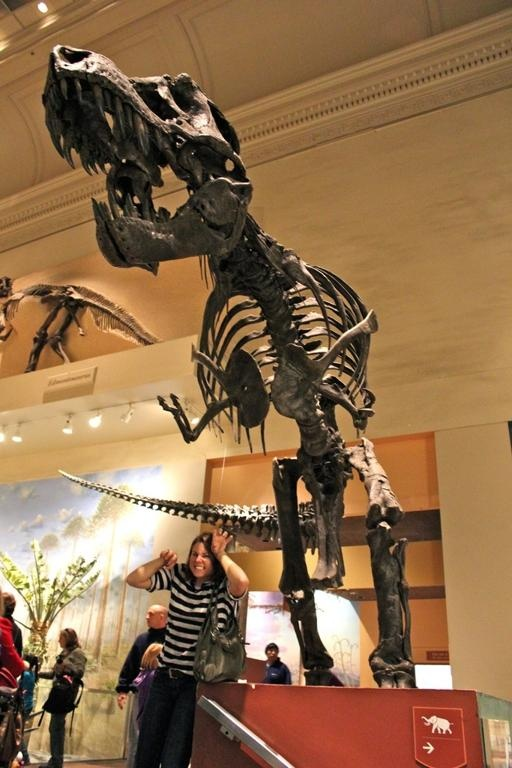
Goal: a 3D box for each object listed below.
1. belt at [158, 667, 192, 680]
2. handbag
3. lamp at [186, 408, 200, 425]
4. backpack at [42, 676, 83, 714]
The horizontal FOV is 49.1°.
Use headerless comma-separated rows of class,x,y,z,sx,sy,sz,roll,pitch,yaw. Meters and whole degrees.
belt,-0.317,1.128,2.180,0.163,0.032,0.047,-13,-29,36
handbag,-0.130,0.940,2.073,0.165,0.300,0.181,7,-24,-3
lamp,-0.765,0.424,6.780,0.170,0.205,0.368,8,-23,-5
backpack,-1.513,2.455,4.412,0.238,0.300,0.222,14,-25,-18
